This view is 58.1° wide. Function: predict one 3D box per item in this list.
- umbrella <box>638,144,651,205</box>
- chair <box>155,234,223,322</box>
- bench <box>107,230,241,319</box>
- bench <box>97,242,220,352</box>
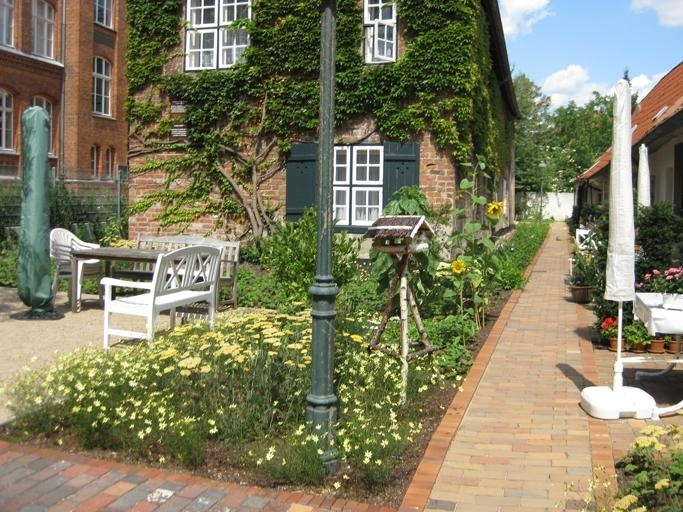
[{"bbox_3d":[4.697,-1.226,9.591,0.158,0.840,0.165,6,-1,7],"label":"umbrella"},{"bbox_3d":[-2.108,0.354,8.612,0.453,1.017,1.263,3,2,17],"label":"chair"},{"bbox_3d":[-2.528,0.311,9.422,1.409,0.957,0.567,0,-1,18],"label":"bench"},{"bbox_3d":[-2.428,0.577,8.279,0.490,0.952,1.264,4,3,18],"label":"bench"}]
